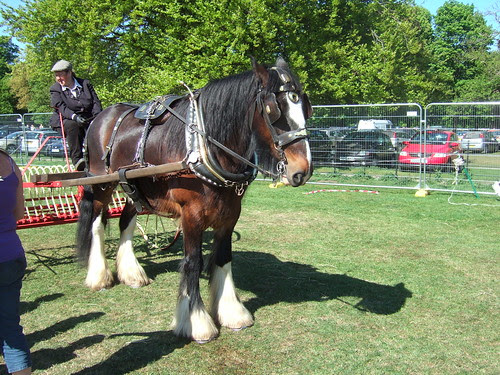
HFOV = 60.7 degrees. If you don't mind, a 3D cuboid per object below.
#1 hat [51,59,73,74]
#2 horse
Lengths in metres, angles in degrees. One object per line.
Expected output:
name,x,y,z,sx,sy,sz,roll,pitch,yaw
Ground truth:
hat,-2.796,-1.803,6.319,0.295,0.171,0.241,-9,17,-30
horse,-0.756,0.045,5.210,3.161,3.079,1.213,10,18,36
